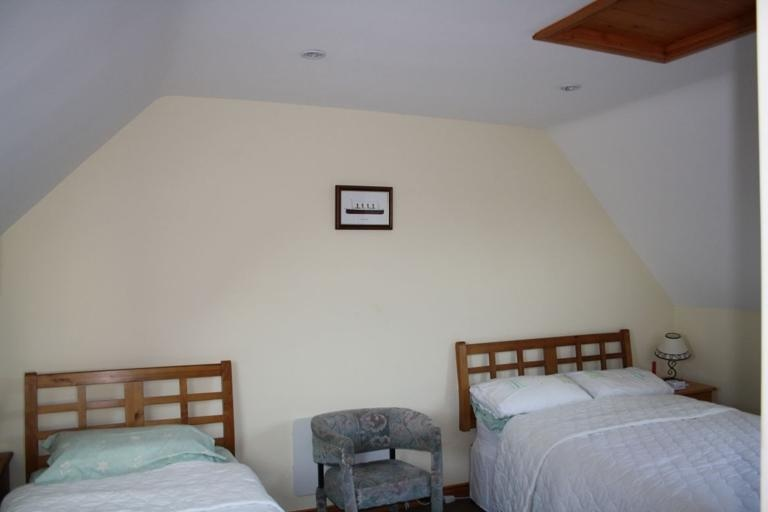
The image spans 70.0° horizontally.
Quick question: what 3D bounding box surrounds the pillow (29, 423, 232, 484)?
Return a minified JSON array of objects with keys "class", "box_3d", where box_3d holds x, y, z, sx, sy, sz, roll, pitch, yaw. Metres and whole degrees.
[{"class":"pillow","box_3d":[-1.627,1.262,3.547,0.826,0.127,0.496,5,6,-28]}]
